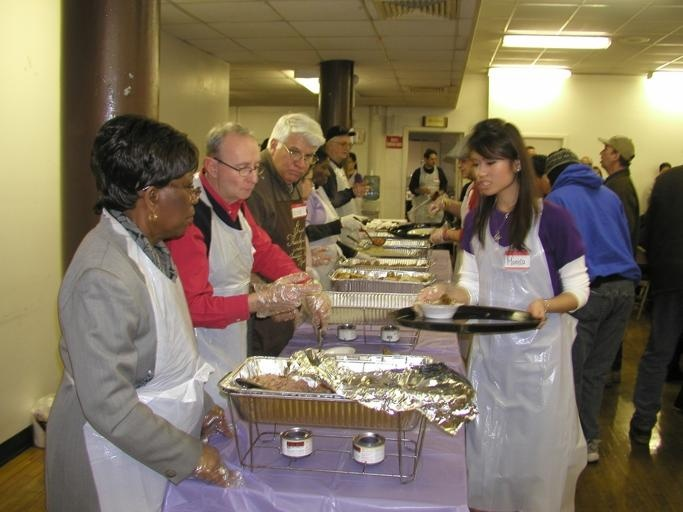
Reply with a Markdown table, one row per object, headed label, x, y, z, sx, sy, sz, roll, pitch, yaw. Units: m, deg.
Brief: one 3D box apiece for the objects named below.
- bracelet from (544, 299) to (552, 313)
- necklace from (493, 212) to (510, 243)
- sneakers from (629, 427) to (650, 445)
| label | x | y | z | sx | sy | sz | roll | pitch | yaw |
| --- | --- | --- | --- | --- | --- | --- | --- | --- | --- |
| bracelet | 0.838 | 0.204 | 2.250 | 0.038 | 0.055 | 0.020 | 0 | -12 | -11 |
| necklace | 0.695 | -0.129 | 2.408 | 0.031 | 0.120 | 0.081 | 5 | 6 | -32 |
| sneakers | 1.912 | 1.171 | 3.533 | 0.063 | 0.129 | 0.128 | 0 | -27 | 8 |
